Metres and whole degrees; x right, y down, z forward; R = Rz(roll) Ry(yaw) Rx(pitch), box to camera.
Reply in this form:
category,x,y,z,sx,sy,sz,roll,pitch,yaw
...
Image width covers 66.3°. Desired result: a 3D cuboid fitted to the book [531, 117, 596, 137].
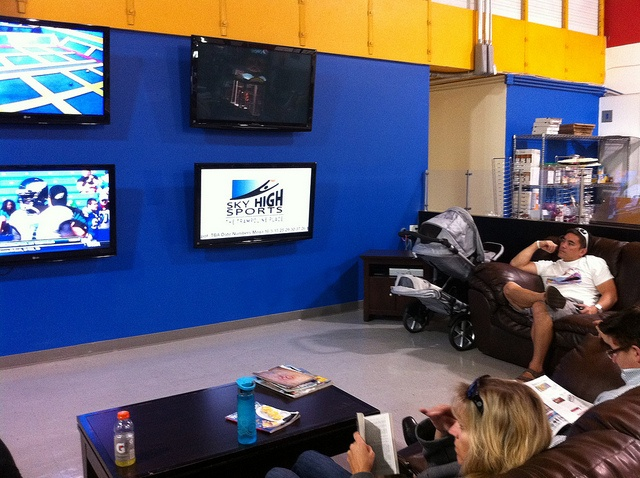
category,x,y,z,sx,sy,sz,roll,pitch,yaw
book,3.903,-1.804,7.921,1.135,0.279,0.285,-4,11,-20

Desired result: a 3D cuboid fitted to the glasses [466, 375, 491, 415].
category,x,y,z,sx,sy,sz,roll,pitch,yaw
glasses,0.534,0.529,1.693,0.041,0.100,0.078,-30,4,45

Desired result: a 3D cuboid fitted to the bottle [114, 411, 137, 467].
category,x,y,z,sx,sy,sz,roll,pitch,yaw
bottle,-0.971,0.966,2.419,0.100,0.269,0.142,-5,12,-24

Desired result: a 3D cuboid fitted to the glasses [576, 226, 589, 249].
category,x,y,z,sx,sy,sz,roll,pitch,yaw
glasses,2.465,0.000,4.588,0.150,0.182,0.197,1,6,20

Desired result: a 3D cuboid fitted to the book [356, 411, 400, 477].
category,x,y,z,sx,sy,sz,roll,pitch,yaw
book,0.265,0.892,2.152,0.216,0.258,0.100,-3,0,18

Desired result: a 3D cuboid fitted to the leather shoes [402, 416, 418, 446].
category,x,y,z,sx,sy,sz,roll,pitch,yaw
leather shoes,0.507,1.107,2.847,0.080,0.094,0.231,0,17,6

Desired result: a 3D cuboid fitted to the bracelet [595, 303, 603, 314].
category,x,y,z,sx,sy,sz,roll,pitch,yaw
bracelet,2.392,0.599,4.222,0.050,0.064,0.073,0,14,-13

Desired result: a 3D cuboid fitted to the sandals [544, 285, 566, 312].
category,x,y,z,sx,sy,sz,roll,pitch,yaw
sandals,1.983,0.508,4.152,0.121,0.218,0.090,-30,-15,16

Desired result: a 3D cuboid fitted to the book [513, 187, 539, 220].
category,x,y,z,sx,sy,sz,roll,pitch,yaw
book,2.555,-0.424,6.072,0.298,0.351,0.532,7,10,42
